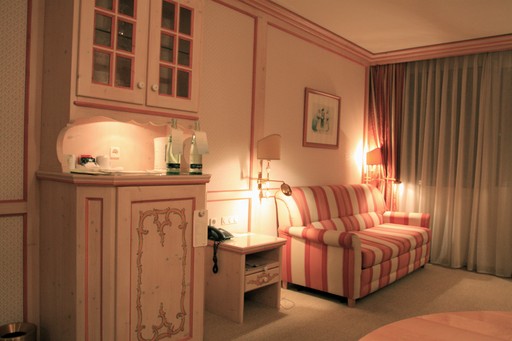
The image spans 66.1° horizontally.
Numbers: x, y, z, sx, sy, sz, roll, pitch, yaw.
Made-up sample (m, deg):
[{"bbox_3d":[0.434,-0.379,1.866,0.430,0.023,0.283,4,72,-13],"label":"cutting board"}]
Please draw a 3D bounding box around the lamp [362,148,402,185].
[{"bbox_3d":[2.104,-0.096,6.433,0.580,0.571,0.376,5,10,20],"label":"lamp"}]

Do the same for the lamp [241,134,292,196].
[{"bbox_3d":[0.236,-0.032,4.886,0.461,0.842,0.577,7,11,30],"label":"lamp"}]

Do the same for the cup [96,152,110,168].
[{"bbox_3d":[-1.320,-0.080,3.363,0.089,0.105,0.117,-6,-9,39],"label":"cup"}]

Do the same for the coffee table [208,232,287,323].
[{"bbox_3d":[-0.062,1.041,4.366,0.779,0.910,0.888,0,0,42],"label":"coffee table"}]

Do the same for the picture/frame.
[{"bbox_3d":[0.947,-0.760,5.738,0.053,0.818,0.987,-1,-1,39],"label":"picture/frame"}]
